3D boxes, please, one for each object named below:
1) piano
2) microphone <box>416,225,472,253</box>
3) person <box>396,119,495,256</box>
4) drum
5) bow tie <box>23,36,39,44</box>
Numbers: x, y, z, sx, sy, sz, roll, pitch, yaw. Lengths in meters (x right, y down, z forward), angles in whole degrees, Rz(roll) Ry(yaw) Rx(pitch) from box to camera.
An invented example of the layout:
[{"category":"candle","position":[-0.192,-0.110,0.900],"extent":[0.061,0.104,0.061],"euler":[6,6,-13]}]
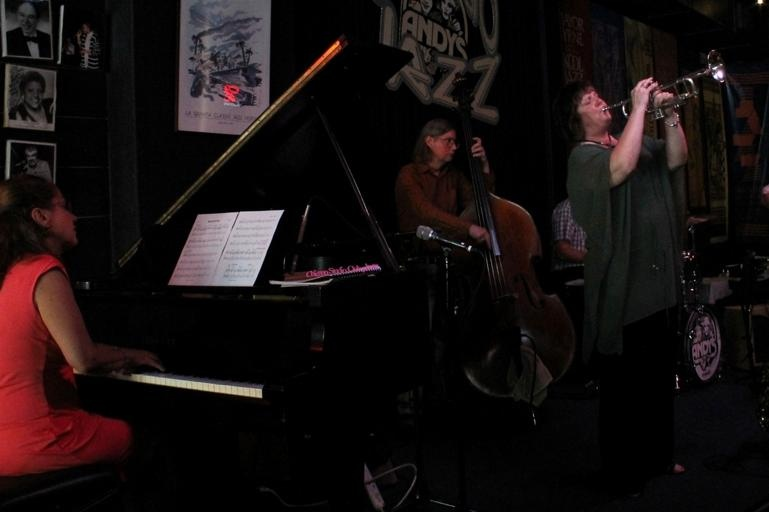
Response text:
[{"category":"piano","position":[-0.830,0.190,3.530],"extent":[1.260,2.447,1.604],"euler":[-1,7,-28]},{"category":"microphone","position":[0.347,-0.099,3.975],"extent":[0.292,0.075,0.078],"euler":[20,7,8]},{"category":"person","position":[0.390,-0.312,4.661],"extent":[0.654,1.173,0.663],"euler":[0,17,-13]},{"category":"drum","position":[1.638,0.475,3.583],"extent":[0.258,0.461,0.146],"euler":[2,5,8]},{"category":"bow tie","position":[-2.240,-1.370,4.353],"extent":[0.064,0.061,0.017],"euler":[0,1,-32]}]
